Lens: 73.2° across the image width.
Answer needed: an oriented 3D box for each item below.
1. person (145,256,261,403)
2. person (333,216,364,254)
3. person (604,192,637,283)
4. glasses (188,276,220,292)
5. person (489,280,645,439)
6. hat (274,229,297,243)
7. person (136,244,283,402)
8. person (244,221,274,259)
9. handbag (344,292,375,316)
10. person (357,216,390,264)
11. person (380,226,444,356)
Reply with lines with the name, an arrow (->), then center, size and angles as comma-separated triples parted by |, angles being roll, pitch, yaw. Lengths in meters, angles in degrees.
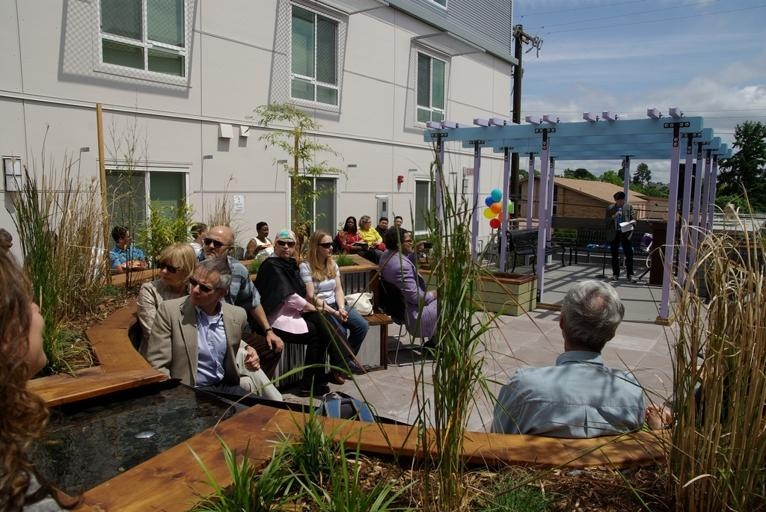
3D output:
person -> -1.353, 0.561, 3.841 | 0.733, 1.120, 0.836 | 17, 10, 35
person -> -0.688, -0.450, 11.211 | 0.594, 0.921, 0.597 | -4, -9, 9
person -> 5.315, -0.423, 11.561 | 0.549, 2.009, 1.494 | 1, 7, 26
glasses -> -1.315, 0.206, 3.740 | 0.212, 0.112, 0.078 | 0, 7, 19
person -> 0.979, 0.512, 2.648 | 0.721, 0.901, 0.469 | -2, 23, -4
hat -> -1.039, -0.210, 5.522 | 0.127, 0.150, 0.179 | 8, -5, -12
person -> -1.254, 0.630, 3.808 | 0.870, 1.113, 0.790 | -1, 27, -29
person -> -2.233, -0.279, 9.647 | 0.387, 0.695, 0.711 | 9, 11, 32
handbag -> -0.275, 0.566, 6.286 | 0.371, 0.222, 0.478 | 7, -4, -28
person -> -0.215, -0.185, 11.217 | 0.527, 1.388, 0.819 | -5, 6, -33
person -> 0.419, 0.494, 6.343 | 0.874, 1.739, 0.629 | -20, 23, -38
